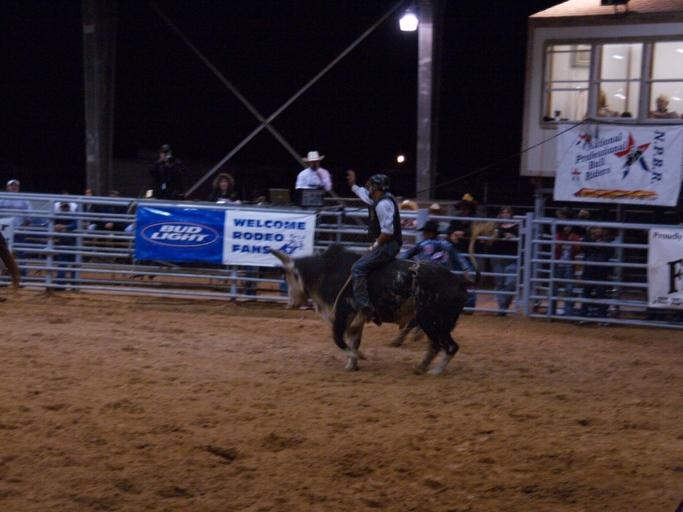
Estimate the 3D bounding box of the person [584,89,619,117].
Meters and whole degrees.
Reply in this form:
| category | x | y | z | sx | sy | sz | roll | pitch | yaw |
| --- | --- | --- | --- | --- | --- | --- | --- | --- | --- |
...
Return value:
| category | x | y | z | sx | sy | sz | roll | pitch | yaw |
| --- | --- | --- | --- | --- | --- | --- | --- | --- | --- |
| person | 5.455 | -3.190 | 16.071 | 0.975 | 0.593 | 0.197 | 0 | 3 | 7 |

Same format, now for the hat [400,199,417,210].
| category | x | y | z | sx | sy | sz | roll | pitch | yaw |
| --- | --- | --- | --- | --- | --- | --- | --- | --- | --- |
| hat | 1.229 | -0.937 | 14.149 | 0.335 | 0.108 | 0.331 | 4 | -1 | -5 |
